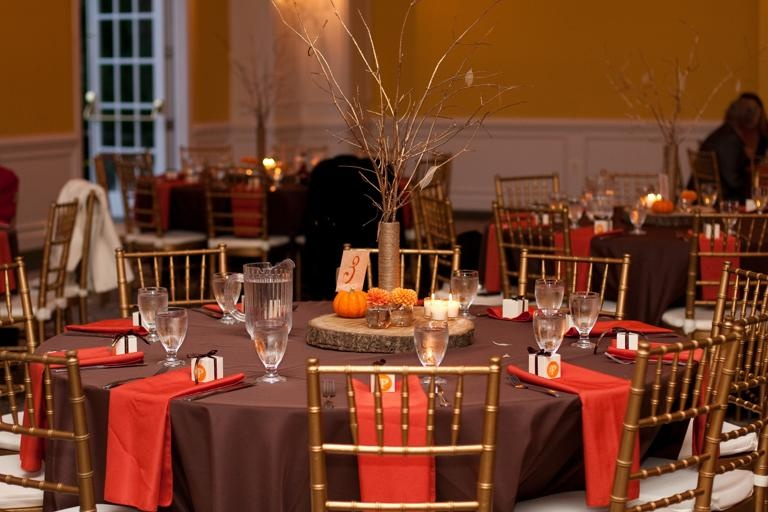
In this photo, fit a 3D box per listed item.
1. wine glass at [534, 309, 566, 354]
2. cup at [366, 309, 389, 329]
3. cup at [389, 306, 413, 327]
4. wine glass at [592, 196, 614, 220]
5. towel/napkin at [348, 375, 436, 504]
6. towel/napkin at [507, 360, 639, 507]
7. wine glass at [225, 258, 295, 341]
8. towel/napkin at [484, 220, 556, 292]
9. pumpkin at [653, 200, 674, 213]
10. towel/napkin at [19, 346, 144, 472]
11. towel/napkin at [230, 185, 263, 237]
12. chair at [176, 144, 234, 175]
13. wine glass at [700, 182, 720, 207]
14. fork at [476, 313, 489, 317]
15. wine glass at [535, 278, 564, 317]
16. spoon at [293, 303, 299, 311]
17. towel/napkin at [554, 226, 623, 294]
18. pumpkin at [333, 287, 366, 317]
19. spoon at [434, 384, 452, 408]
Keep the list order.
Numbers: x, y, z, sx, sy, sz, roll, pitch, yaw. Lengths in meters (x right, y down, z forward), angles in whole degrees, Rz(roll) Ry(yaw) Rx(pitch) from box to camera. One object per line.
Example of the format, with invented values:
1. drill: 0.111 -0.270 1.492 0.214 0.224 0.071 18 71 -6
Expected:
1. wine glass: 0.607 0.272 3.010 0.125 0.168 0.129 0 2 13
2. cup: -0.021 0.247 3.350 0.070 0.086 0.078 -1 4 -3
3. cup: 0.071 0.239 3.370 0.072 0.088 0.080 0 4 -6
4. wine glass: 1.426 -0.329 5.341 0.137 0.199 0.145 -4 7 -20
5. towel/napkin: 0.039 0.590 2.833 0.303 0.641 0.334 0 17 4
6. towel/napkin: 0.735 0.616 3.017 0.281 0.405 0.488 -3 5 -37
7. wine glass: -0.545 0.172 3.305 0.334 0.404 0.229 -1 4 -15
8. towel/napkin: 0.854 0.002 5.308 0.314 0.664 0.347 -2 5 5
9. pumpkin: 1.878 -0.334 5.528 0.086 0.082 0.096 -3 3 4
10. towel/napkin: -1.162 0.532 3.125 0.430 0.381 0.445 9 9 44
11. towel/napkin: -1.131 -0.357 6.732 0.286 0.583 0.301 2 14 -3
12. chair: -2.010 -1.081 9.060 0.564 0.336 0.775 0 1 1
13. wine glass: 2.219 -0.422 5.622 0.097 0.174 0.255 -1 0 17
14. fork: 0.445 0.263 3.720 0.017 0.027 0.085 -4 -7 30
15. wine glass: 0.697 0.167 3.448 0.127 0.178 0.142 -1 1 16
16. spoon: -0.419 0.233 3.845 0.023 0.036 0.028 6 9 32
17. towel/napkin: 1.155 0.027 4.632 0.232 0.509 0.272 9 18 32
18. pumpkin: -0.147 0.191 3.505 0.103 0.112 0.112 0 0 -13
19. spoon: 0.198 0.474 2.802 0.054 0.041 0.109 24 21 -13
